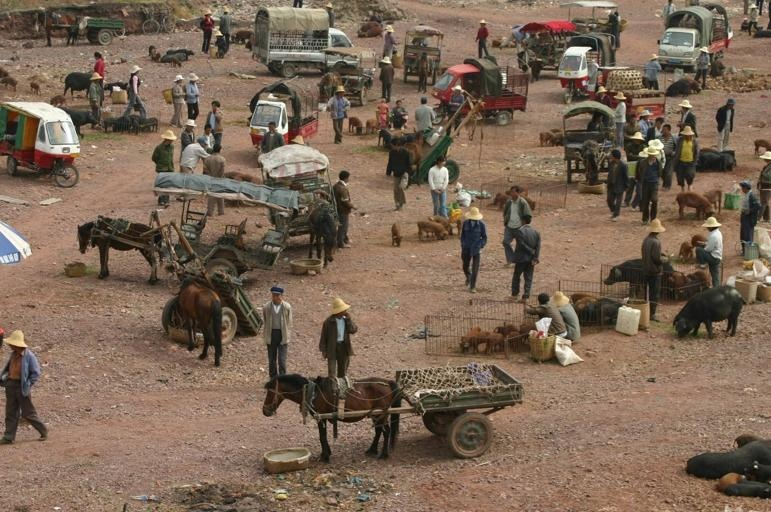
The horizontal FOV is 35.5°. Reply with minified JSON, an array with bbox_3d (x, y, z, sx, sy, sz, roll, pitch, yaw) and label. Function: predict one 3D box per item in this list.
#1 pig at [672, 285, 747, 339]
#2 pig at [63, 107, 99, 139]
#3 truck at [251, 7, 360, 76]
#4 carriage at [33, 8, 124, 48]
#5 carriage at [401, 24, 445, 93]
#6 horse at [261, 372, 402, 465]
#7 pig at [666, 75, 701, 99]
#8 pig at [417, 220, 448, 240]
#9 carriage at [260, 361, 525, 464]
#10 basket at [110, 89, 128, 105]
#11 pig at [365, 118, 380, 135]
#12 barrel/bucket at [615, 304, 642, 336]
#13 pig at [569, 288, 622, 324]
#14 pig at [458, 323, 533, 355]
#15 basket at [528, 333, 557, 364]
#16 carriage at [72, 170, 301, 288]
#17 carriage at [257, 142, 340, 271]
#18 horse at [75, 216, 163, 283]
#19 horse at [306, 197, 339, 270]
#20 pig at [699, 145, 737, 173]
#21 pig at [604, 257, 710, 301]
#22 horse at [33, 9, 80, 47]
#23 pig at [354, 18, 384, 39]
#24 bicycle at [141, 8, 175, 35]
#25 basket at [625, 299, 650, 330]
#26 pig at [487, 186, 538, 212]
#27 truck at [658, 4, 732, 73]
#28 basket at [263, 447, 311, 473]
[{"bbox_3d":[8.512,1.449,32.078,1.689,1.380,0.506,2,11,2],"label":"pig"},{"bbox_3d":[-11.368,-5.107,45.396,0.955,1.153,2.385,16,11,5],"label":"pig"},{"bbox_3d":[-4.361,-9.961,56.518,5.961,3.152,2.914,1,18,4],"label":"truck"},{"bbox_3d":[-15.615,-11.668,61.527,4.804,1.497,1.695,-4,10,-27],"label":"carriage"},{"bbox_3d":[1.667,-10.027,58.696,2.636,2.783,3.947,2,24,0],"label":"carriage"},{"bbox_3d":[-1.127,3.770,28.442,2.861,2.066,2.844,-5,-4,32],"label":"horse"},{"bbox_3d":[13.609,-7.741,54.894,2.410,0.824,0.832,-7,15,-32],"label":"pig"},{"bbox_3d":[1.471,-0.867,38.203,0.946,0.611,0.570,2,10,4],"label":"pig"},{"bbox_3d":[0.095,3.626,28.313,6.118,1.742,2.440,-3,8,-12],"label":"carriage"},{"bbox_3d":[-10.847,-6.544,49.398,0.968,0.539,0.501,-1,5,-6],"label":"basket"},{"bbox_3d":[-0.488,-5.385,49.614,0.723,0.620,0.527,-4,10,-37],"label":"pig"},{"bbox_3d":[6.395,1.727,32.312,0.609,0.721,0.300,5,11,18],"label":"barrel/bucket"},{"bbox_3d":[5.675,1.332,32.740,1.154,0.383,1.009,2,15,4],"label":"pig"},{"bbox_3d":[2.823,2.166,31.772,1.815,0.740,0.720,2,10,2],"label":"pig"},{"bbox_3d":[3.971,2.368,31.376,0.829,0.537,0.811,1,0,28],"label":"basket"},{"bbox_3d":[-5.642,-0.749,35.160,7.023,2.690,2.518,3,6,12],"label":"carriage"},{"bbox_3d":[-2.368,-1.922,37.207,2.683,2.970,5.104,-11,20,-9],"label":"carriage"},{"bbox_3d":[-7.492,-0.201,34.665,2.492,1.875,0.759,4,11,14],"label":"horse"},{"bbox_3d":[-1.995,-0.787,37.065,0.874,1.829,2.810,-4,15,-17],"label":"horse"},{"bbox_3d":[11.735,-3.440,43.156,1.307,0.779,0.520,3,11,11],"label":"pig"},{"bbox_3d":[7.790,0.666,33.222,2.012,0.395,1.593,0,17,3],"label":"pig"},{"bbox_3d":[-16.584,-11.680,61.443,2.020,1.923,2.683,-2,10,-18],"label":"horse"},{"bbox_3d":[-0.849,-13.181,69.508,1.280,0.671,2.050,2,22,5],"label":"pig"},{"bbox_3d":[-12.542,-13.245,67.336,1.141,1.101,2.164,5,13,33],"label":"bicycle"},{"bbox_3d":[6.845,1.573,32.662,0.874,0.722,0.760,-4,17,-4],"label":"basket"},{"bbox_3d":[3.938,-1.847,39.850,2.075,0.859,0.582,-2,25,7],"label":"pig"},{"bbox_3d":[15.108,-11.193,60.036,2.507,2.444,5.426,9,21,33],"label":"truck"},{"bbox_3d":[-2.283,4.670,27.714,0.851,0.240,0.595,-1,9,-14],"label":"basket"}]
